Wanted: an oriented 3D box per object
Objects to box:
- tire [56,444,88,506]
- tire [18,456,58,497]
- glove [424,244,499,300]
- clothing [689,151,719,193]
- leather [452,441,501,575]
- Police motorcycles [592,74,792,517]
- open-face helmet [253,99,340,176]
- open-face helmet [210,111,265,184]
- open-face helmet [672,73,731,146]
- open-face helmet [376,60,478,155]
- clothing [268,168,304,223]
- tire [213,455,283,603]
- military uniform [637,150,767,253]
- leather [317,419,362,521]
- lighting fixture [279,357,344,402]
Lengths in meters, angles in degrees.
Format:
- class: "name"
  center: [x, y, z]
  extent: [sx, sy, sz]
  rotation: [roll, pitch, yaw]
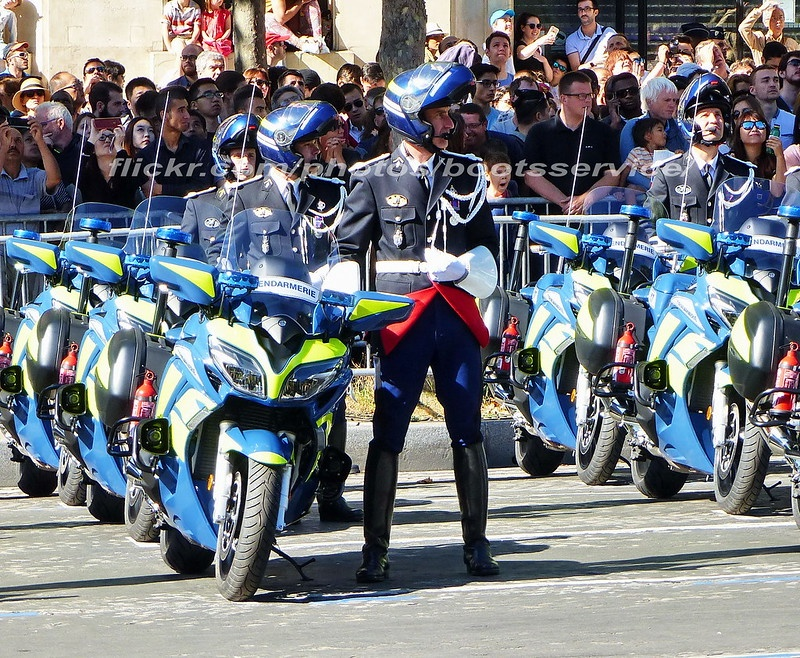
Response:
- class: "tire"
  center: [-2.042, 0.950, 9.500]
  extent: [0.105, 0.426, 0.373]
  rotation: [-9, 7, -27]
- class: "tire"
  center: [-2.415, 1.039, 10.153]
  extent: [0.231, 0.274, 0.275]
  rotation: [0, 5, -17]
- class: "glove"
  center: [0.300, -0.272, 7.450]
  extent: [0.296, 0.254, 0.146]
  rotation: [9, -3, -29]
- class: "clothing"
  center: [1.893, -0.983, 9.479]
  extent: [0.134, 0.229, 0.073]
  rotation: [3, 2, 30]
- class: "leather"
  center: [0.382, 0.915, 7.613]
  extent: [0.232, 0.669, 0.231]
  rotation: [0, 4, 2]
- class: "Police motorcycles"
  center: [1.748, -0.184, 9.029]
  extent: [0.882, 2.705, 1.453]
  rotation: [0, 4, 1]
- class: "open-face helmet"
  center: [-0.524, -1.007, 7.686]
  extent: [0.370, 0.388, 0.341]
  rotation: [17, 28, 27]
- class: "open-face helmet"
  center: [-0.862, -0.946, 7.960]
  extent: [0.237, 0.333, 0.333]
  rotation: [11, -8, -23]
- class: "open-face helmet"
  center: [1.883, -1.356, 9.418]
  extent: [0.296, 0.436, 0.427]
  rotation: [5, -17, -6]
- class: "open-face helmet"
  center: [0.127, -1.156, 7.552]
  extent: [0.425, 0.462, 0.389]
  rotation: [7, 28, 5]
- class: "clothing"
  center: [-0.568, -0.704, 7.720]
  extent: [0.168, 0.266, 0.080]
  rotation: [13, -33, -34]
- class: "tire"
  center: [-0.711, 0.963, 7.035]
  extent: [0.183, 0.704, 0.414]
  rotation: [-4, 6, -40]
- class: "military uniform"
  center: [1.836, -0.988, 9.302]
  extent: [0.766, 0.900, 0.468]
  rotation: [4, -5, 11]
- class: "leather"
  center: [-0.336, 0.865, 8.709]
  extent: [0.281, 0.539, 0.123]
  rotation: [2, -12, -21]
- class: "lighting fixture"
  center: [-0.404, 0.233, 6.938]
  extent: [0.139, 0.091, 0.225]
  rotation: [-8, 9, 22]
